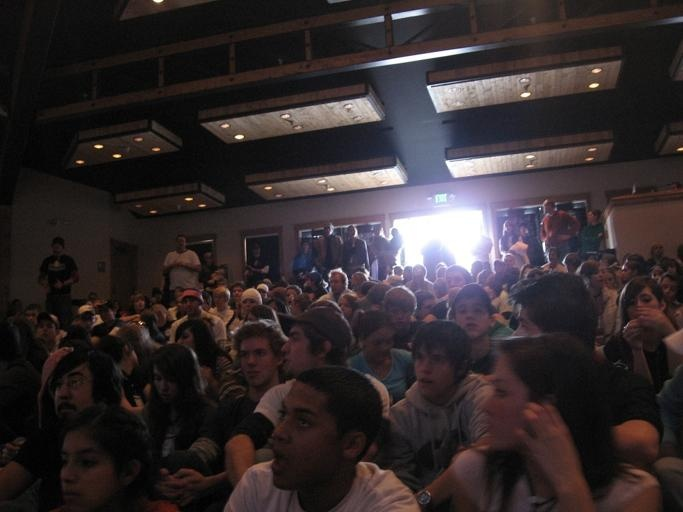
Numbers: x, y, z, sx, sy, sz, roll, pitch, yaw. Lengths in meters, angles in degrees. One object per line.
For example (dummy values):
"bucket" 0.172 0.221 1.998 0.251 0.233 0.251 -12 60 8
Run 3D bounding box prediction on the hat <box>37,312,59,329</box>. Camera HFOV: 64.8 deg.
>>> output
"hat" -4.172 0.927 7.604 0.246 0.178 0.346 6 -46 -23

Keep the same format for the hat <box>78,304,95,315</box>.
"hat" -4.325 0.921 9.116 0.303 0.165 0.461 -5 -3 -12

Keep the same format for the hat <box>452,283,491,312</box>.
"hat" 0.997 0.307 4.073 0.188 0.250 0.121 2 -4 14

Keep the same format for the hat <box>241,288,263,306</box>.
"hat" -1.272 0.582 7.575 0.241 0.252 0.313 1 -4 3

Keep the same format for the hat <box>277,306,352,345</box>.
"hat" -0.175 0.509 3.681 0.393 0.211 0.276 27 -8 -4
